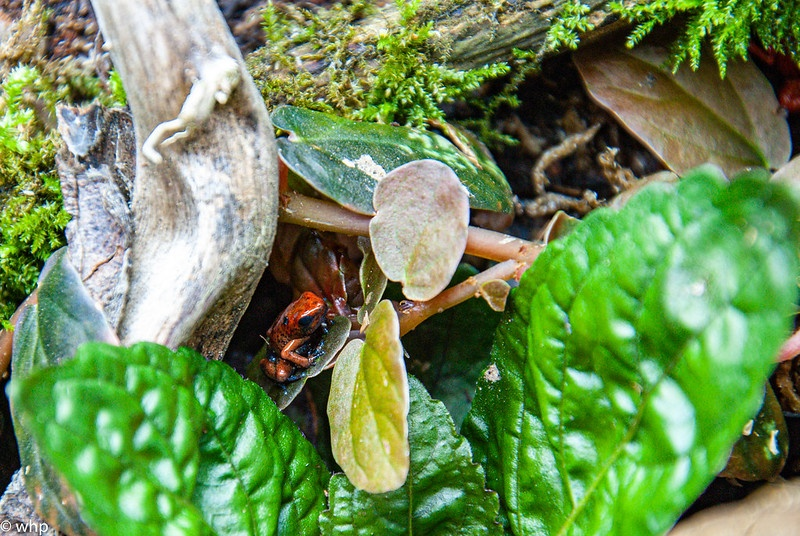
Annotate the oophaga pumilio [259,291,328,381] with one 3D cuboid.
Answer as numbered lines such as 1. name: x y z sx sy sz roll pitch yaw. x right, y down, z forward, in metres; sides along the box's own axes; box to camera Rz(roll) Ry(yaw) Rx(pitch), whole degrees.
1. oophaga pumilio: -0.225 0.165 1.802 0.176 0.157 0.075 -42 -39 19
